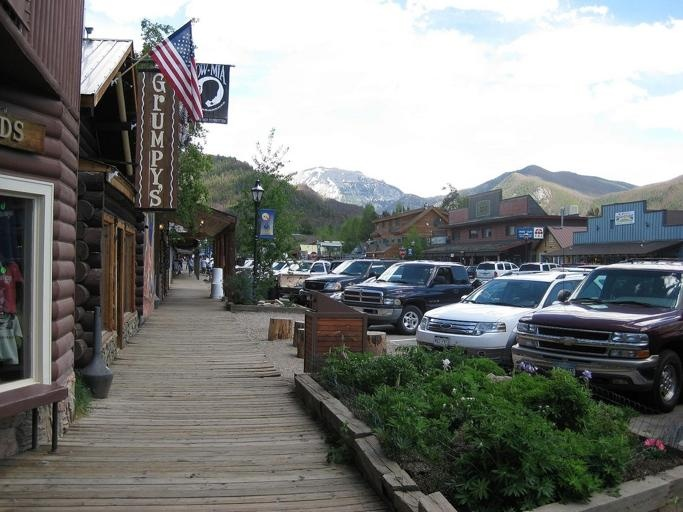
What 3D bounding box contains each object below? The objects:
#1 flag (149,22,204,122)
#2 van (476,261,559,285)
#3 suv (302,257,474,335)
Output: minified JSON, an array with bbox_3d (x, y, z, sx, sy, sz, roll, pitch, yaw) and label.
[{"bbox_3d":[-3.728,-4.296,12.133,1.021,2.280,0.764,-3,3,-27],"label":"flag"},{"bbox_3d":[8.407,0.807,26.453,2.579,0.986,1.253,-5,6,-19],"label":"van"},{"bbox_3d":[2.191,1.192,16.461,3.805,1.531,2.107,2,-4,-38],"label":"suv"}]
